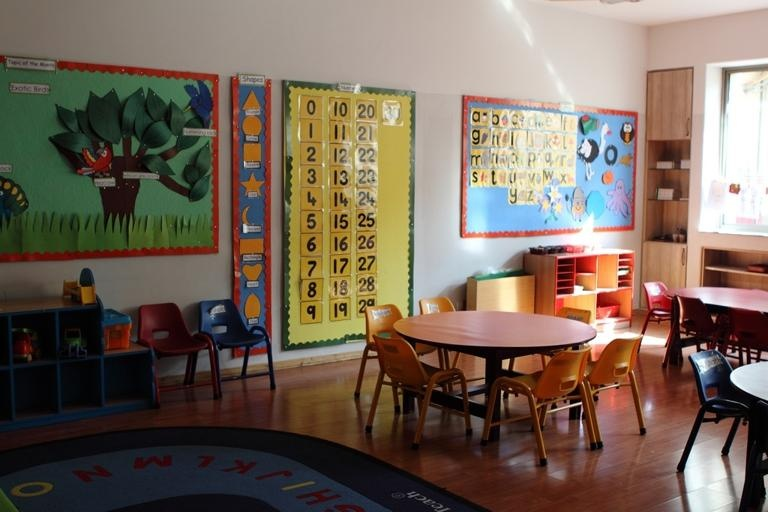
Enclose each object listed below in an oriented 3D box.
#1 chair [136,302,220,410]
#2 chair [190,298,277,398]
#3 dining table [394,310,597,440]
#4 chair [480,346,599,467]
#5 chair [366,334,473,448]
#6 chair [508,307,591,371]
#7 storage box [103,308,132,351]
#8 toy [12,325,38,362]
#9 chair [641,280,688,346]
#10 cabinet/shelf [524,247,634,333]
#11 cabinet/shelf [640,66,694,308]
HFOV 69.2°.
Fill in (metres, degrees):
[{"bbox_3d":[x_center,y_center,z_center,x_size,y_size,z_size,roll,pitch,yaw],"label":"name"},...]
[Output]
[{"bbox_3d":[-2.014,0.939,5.275,0.602,0.899,0.655,2,4,42],"label":"chair"},{"bbox_3d":[-1.596,0.906,5.739,0.842,1.202,0.842,-1,1,-35],"label":"chair"},{"bbox_3d":[0.958,0.663,4.685,1.207,0.613,1.178,-11,15,-39],"label":"dining table"},{"bbox_3d":[1.299,1.104,4.484,1.041,0.886,0.619,-4,10,-30],"label":"chair"},{"bbox_3d":[0.260,1.086,4.655,0.714,0.896,0.711,2,4,37],"label":"chair"},{"bbox_3d":[1.544,0.871,5.223,0.584,0.827,0.540,10,2,-10],"label":"chair"},{"bbox_3d":[-2.476,0.649,5.216,0.302,0.360,0.488,-3,8,-34],"label":"storage box"},{"bbox_3d":[-3.215,0.751,4.861,0.199,0.234,0.434,3,12,-32],"label":"toy"},{"bbox_3d":[3.366,0.687,6.727,0.525,0.570,0.516,-11,13,-33],"label":"chair"},{"bbox_3d":[2.822,0.495,7.769,1.413,1.037,0.473,-3,9,-24],"label":"cabinet/shelf"},{"bbox_3d":[4.440,-0.901,8.437,0.515,3.827,0.740,-9,11,-29],"label":"cabinet/shelf"}]
